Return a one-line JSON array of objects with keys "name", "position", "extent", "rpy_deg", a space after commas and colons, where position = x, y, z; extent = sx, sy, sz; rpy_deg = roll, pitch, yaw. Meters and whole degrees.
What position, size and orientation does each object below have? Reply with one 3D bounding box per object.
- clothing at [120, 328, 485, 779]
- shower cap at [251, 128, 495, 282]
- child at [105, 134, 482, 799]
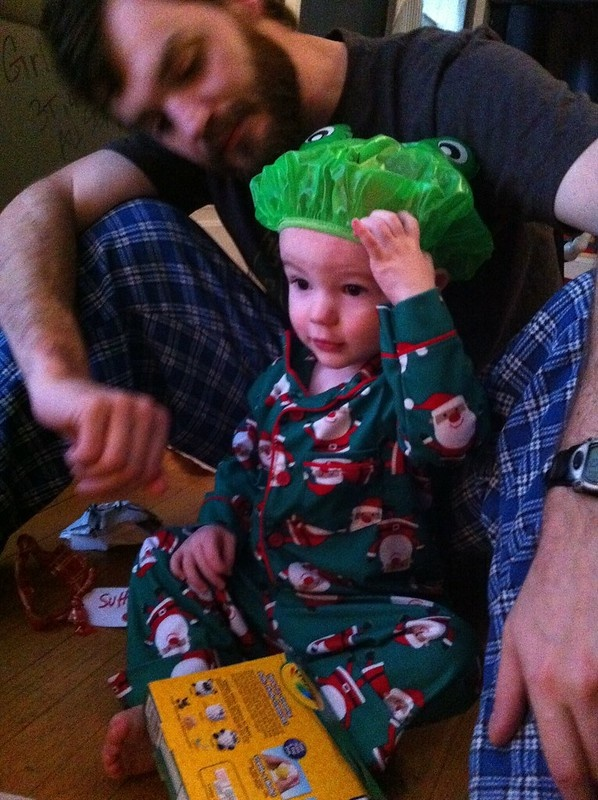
[{"name": "clothing", "position": [0.002, 0.183, 1.067], "extent": [0.590, 0.635, 0.489], "rpy_deg": [13, 12, 40]}, {"name": "shower cap", "position": [0.108, -0.267, 0.960], "extent": [0.337, 0.211, 0.194], "rpy_deg": [-6, 39, -4]}, {"name": "child", "position": [0.018, 0.067, 0.911], "extent": [0.523, 0.776, 0.498], "rpy_deg": [11, 19, 33]}]
